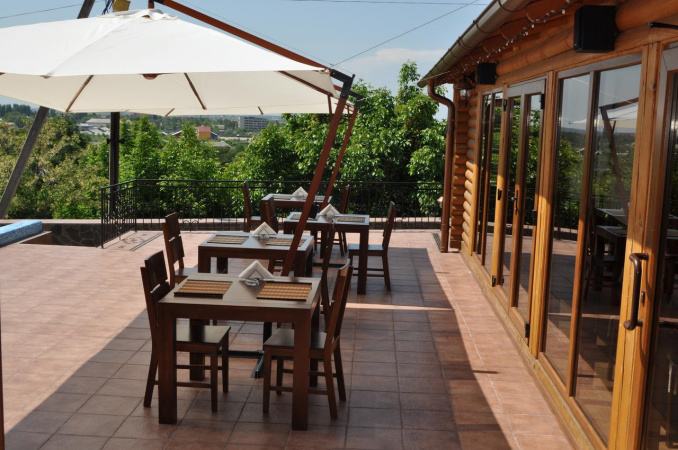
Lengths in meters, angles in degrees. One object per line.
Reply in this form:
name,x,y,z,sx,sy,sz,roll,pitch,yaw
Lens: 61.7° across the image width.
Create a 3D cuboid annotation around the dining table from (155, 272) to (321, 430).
dining table,-0.855,1.122,5.609,1.289,1.038,1.358,1,3,7
